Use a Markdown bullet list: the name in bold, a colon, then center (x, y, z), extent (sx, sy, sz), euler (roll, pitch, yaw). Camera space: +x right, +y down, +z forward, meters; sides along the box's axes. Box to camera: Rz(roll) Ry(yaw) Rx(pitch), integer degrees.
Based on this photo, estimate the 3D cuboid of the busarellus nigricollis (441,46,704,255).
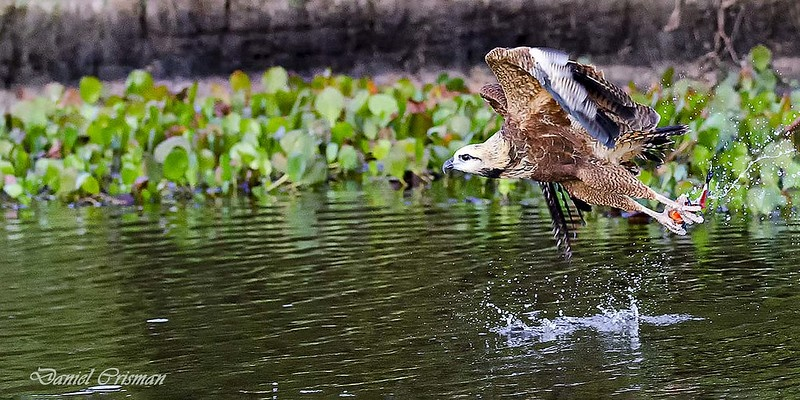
- **busarellus nigricollis**: center (1.593, -0.508, 9.894), extent (1.980, 1.901, 0.509), euler (-8, 11, 3)
